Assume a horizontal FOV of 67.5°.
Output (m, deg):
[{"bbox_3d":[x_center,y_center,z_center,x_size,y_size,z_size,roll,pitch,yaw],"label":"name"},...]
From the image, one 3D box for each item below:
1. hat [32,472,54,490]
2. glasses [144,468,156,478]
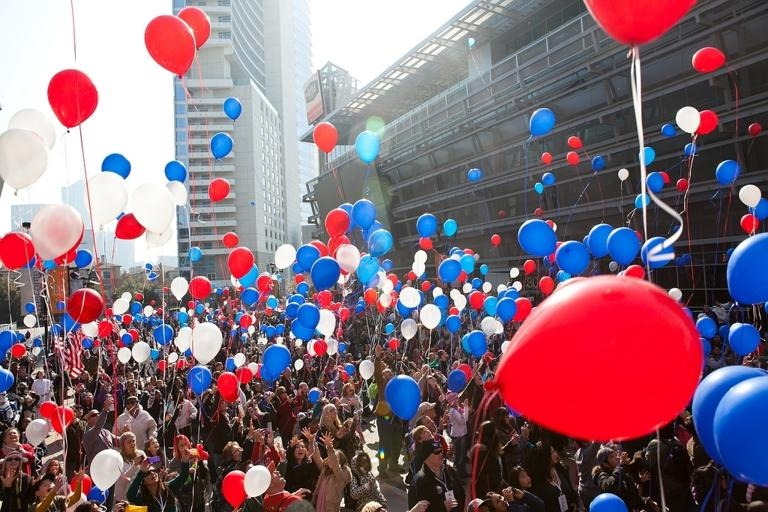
[{"bbox_3d":[-5.110,3.419,8.697,0.189,0.305,0.091,10,-8,2],"label":"hat"},{"bbox_3d":[-3.531,3.279,8.705,0.139,0.159,0.107,-1,-7,-38],"label":"glasses"}]
